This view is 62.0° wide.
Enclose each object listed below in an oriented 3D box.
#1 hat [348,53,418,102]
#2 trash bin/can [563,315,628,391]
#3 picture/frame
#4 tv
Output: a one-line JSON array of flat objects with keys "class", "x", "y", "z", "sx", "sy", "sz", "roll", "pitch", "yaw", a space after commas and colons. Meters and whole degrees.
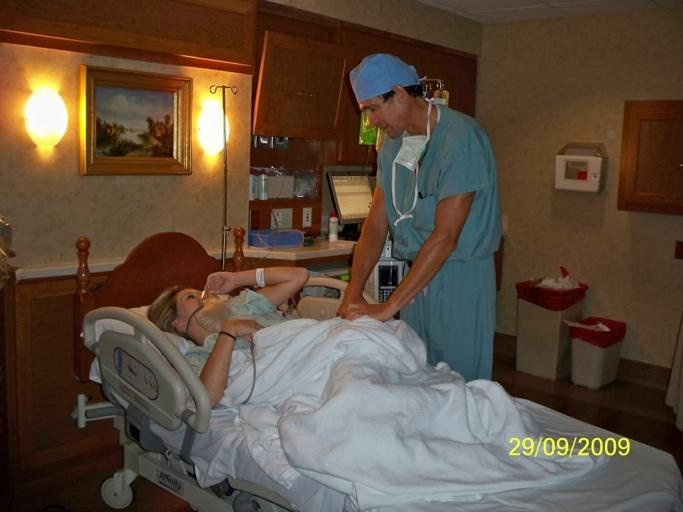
[{"class": "hat", "x": 0.168, "y": -0.730, "z": 2.370, "sx": 0.238, "sy": 0.174, "sz": 0.181, "roll": -14, "pitch": 9, "yaw": -20}, {"class": "trash bin/can", "x": 1.968, "y": 0.708, "z": 4.551, "sx": 0.482, "sy": 0.667, "sz": 0.471, "roll": 5, "pitch": 9, "yaw": 40}, {"class": "picture/frame", "x": -1.156, "y": -0.747, "z": 3.110, "sx": 0.046, "sy": 0.553, "sz": 0.574, "roll": 7, "pitch": 9, "yaw": 41}, {"class": "tv", "x": 0.047, "y": -0.352, "z": 4.159, "sx": 0.185, "sy": 0.595, "sz": 0.554, "roll": 4, "pitch": 4, "yaw": 33}]
